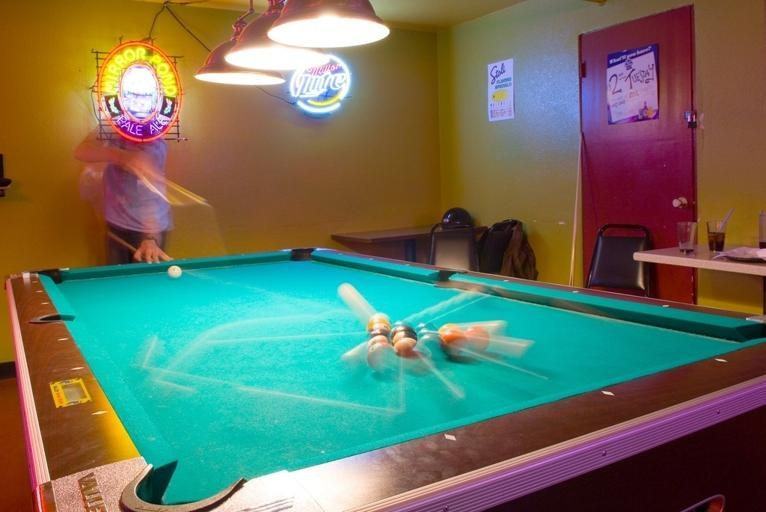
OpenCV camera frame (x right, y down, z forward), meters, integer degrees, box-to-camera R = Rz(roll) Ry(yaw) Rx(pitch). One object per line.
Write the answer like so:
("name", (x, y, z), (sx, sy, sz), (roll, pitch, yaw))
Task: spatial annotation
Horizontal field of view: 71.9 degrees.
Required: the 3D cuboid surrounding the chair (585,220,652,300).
("chair", (1.729, 0.054, 3.860), (0.429, 0.711, 0.429), (3, 8, 37))
